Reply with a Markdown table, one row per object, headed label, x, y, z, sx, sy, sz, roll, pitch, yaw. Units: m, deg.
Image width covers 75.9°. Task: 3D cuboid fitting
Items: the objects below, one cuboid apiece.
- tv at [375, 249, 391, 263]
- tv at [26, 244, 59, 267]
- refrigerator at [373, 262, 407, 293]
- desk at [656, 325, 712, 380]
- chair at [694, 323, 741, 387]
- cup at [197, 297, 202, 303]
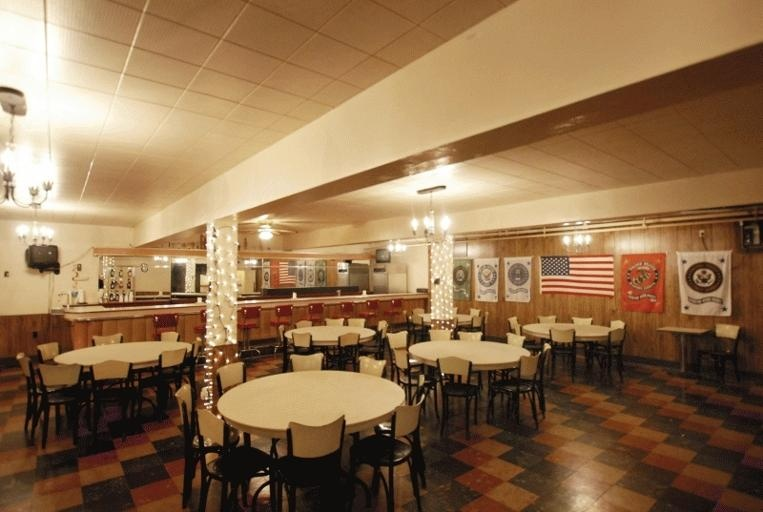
| label | x | y | z | sx | sy | sz | roll | pitch | yaw |
| --- | --- | --- | --- | --- | --- | --- | --- | --- | --- |
| tv | 0.039 | -0.016 | 16.707 | 0.246 | 0.419 | 0.462 | 4 | -5 | -45 |
| tv | -7.691 | -0.007 | 11.070 | 0.549 | 0.513 | 0.434 | 1 | -4 | -34 |
| refrigerator | 0.308 | 0.722 | 16.342 | 0.991 | 0.955 | 0.384 | -2 | -4 | 32 |
| desk | 5.726 | 1.767 | 9.170 | 0.854 | 0.797 | 0.838 | -1 | 0 | -14 |
| chair | 6.031 | 1.708 | 8.737 | 0.723 | 0.967 | 0.911 | -3 | -4 | 30 |
| cup | -3.952 | 0.946 | 10.564 | 0.084 | 0.146 | 0.153 | -3 | 2 | -37 |
